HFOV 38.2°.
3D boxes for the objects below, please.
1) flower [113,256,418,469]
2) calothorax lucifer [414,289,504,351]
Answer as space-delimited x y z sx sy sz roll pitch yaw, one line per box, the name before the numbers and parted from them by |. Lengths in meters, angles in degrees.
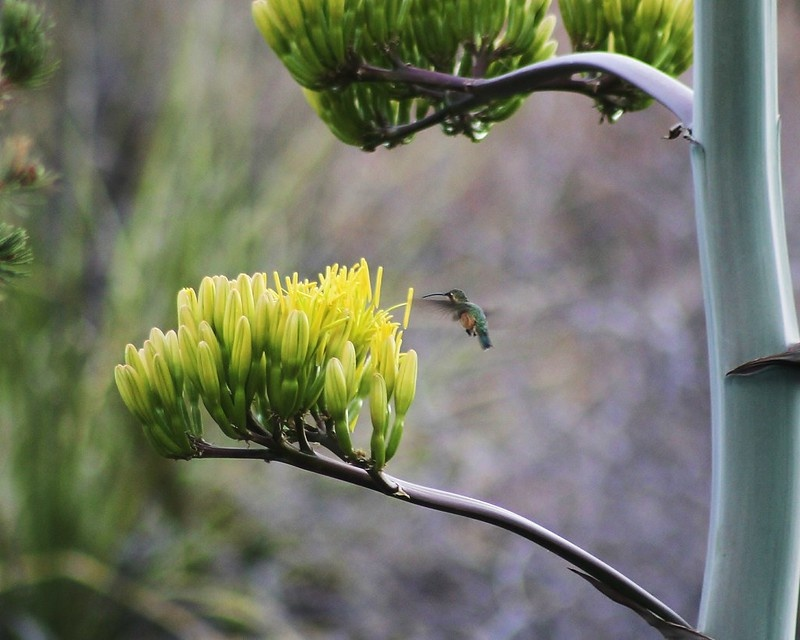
flower | -0.194 0.068 1.705 0.299 0.372 0.227 -35 -118 38
calothorax lucifer | 0.109 -0.016 2.043 0.118 0.129 0.063 25 -113 -12
